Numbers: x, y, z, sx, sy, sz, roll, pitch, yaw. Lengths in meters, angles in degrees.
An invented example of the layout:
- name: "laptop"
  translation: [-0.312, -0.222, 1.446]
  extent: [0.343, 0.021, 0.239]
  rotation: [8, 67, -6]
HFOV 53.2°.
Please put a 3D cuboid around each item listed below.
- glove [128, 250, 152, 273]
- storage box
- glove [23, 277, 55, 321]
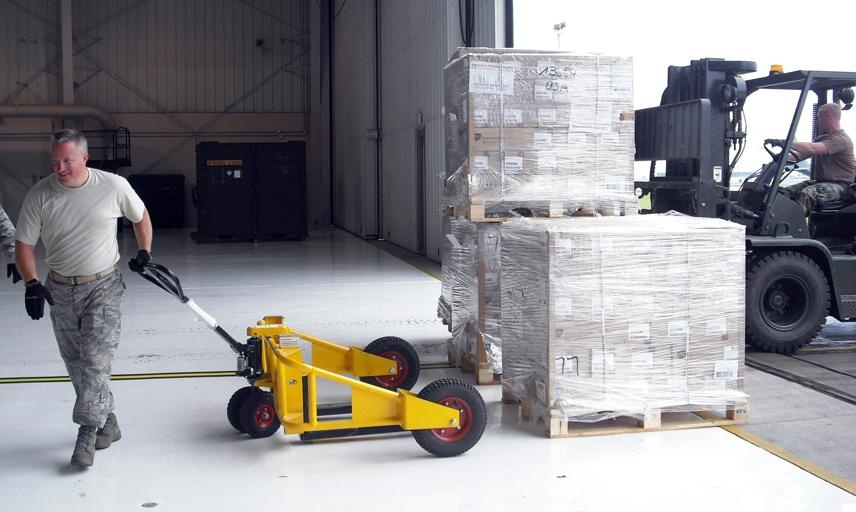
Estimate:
- name: "glove"
  translation: [-2.940, 0.055, 8.667]
  extent: [0.190, 0.242, 0.447]
  rotation: [-5, 12, -17]
- name: "storage box"
  translation: [1.228, -0.526, 10.202]
  extent: [2.220, 3.864, 1.151]
  rotation: [0, 12, 3]
- name: "glove"
  translation: [-3.953, 0.425, 8.666]
  extent: [0.347, 0.407, 0.113]
  rotation: [-3, -1, -7]
